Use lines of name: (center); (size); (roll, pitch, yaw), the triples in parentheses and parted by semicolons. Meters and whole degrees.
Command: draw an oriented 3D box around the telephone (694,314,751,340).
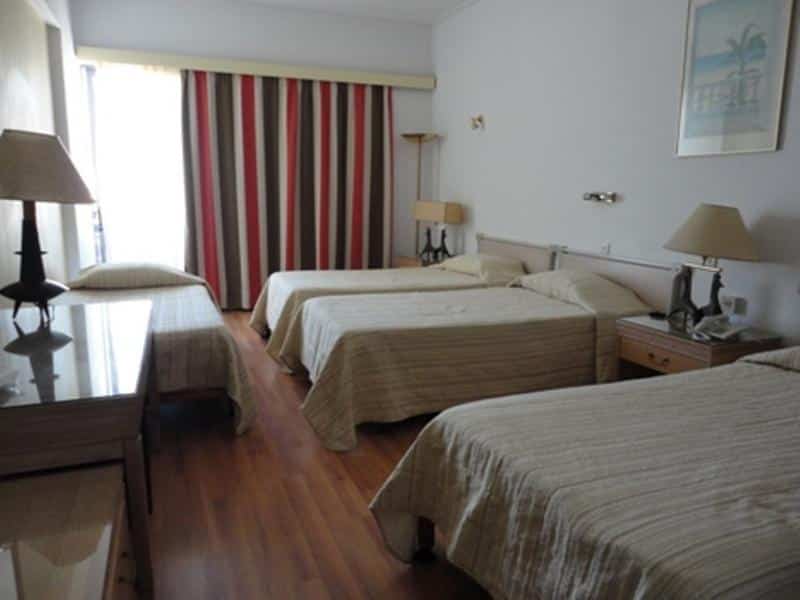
telephone: (1.712, 0.137, 3.165); (0.267, 0.108, 0.186); (5, 13, 21)

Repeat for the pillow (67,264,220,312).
pillow: (-1.953, -0.173, 4.317); (0.792, 0.238, 0.498); (-1, 9, -30)

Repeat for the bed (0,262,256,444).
bed: (-1.476, 0.162, 3.772); (0.869, 0.553, 1.409); (-5, 25, -28)

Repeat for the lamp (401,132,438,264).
lamp: (0.199, -1.125, 6.488); (0.326, 1.332, 0.360); (2, 12, 4)

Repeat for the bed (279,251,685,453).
bed: (0.453, 0.186, 3.709); (1.870, 0.853, 1.254); (-10, 21, -23)

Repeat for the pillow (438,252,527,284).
pillow: (0.689, -0.284, 4.967); (0.296, 0.127, 0.467); (-11, 16, -28)

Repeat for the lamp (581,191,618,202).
lamp: (1.416, -0.739, 4.248); (0.058, 0.078, 0.323); (-6, 14, -24)

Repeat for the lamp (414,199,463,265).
lamp: (0.407, -0.718, 6.121); (0.217, 0.736, 0.539); (-12, 25, -31)

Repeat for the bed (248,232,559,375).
bed: (0.027, -0.200, 4.858); (1.816, 0.833, 1.240); (-5, 15, -20)
